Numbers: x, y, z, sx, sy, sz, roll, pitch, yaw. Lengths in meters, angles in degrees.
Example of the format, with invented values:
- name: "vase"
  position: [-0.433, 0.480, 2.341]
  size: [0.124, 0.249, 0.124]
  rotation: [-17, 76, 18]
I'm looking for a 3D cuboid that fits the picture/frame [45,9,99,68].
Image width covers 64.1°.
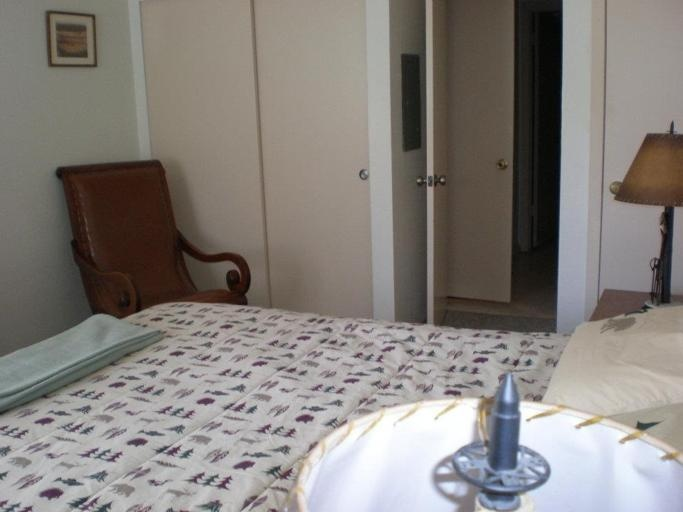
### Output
- name: "picture/frame"
  position: [-1.625, -1.307, 3.306]
  size: [0.338, 0.292, 0.027]
  rotation: [7, 13, 14]
